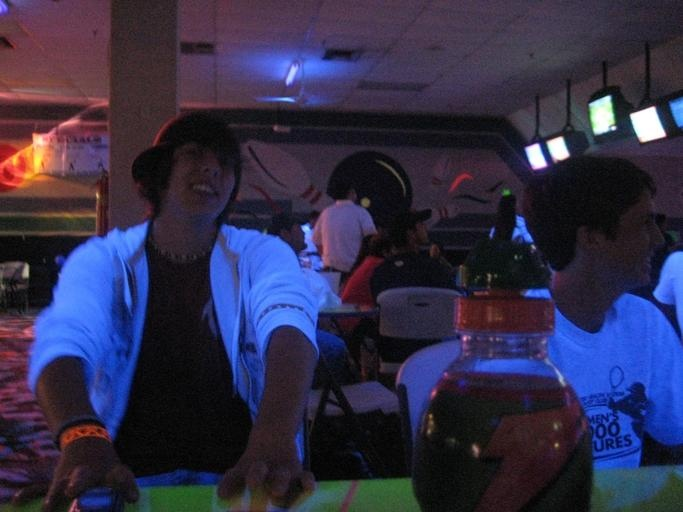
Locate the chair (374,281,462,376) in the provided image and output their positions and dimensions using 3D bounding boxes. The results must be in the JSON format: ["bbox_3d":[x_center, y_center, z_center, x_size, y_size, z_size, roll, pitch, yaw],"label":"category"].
[{"bbox_3d":[0.436,0.467,3.938,0.605,0.716,0.637,0,0,-1],"label":"chair"}]

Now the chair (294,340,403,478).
[{"bbox_3d":[0.051,0.823,3.219,0.636,0.912,0.498,-1,0,-1],"label":"chair"}]

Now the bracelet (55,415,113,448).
[{"bbox_3d":[-0.571,0.386,1.341,0.082,0.080,0.059,5,31,-22],"label":"bracelet"}]
